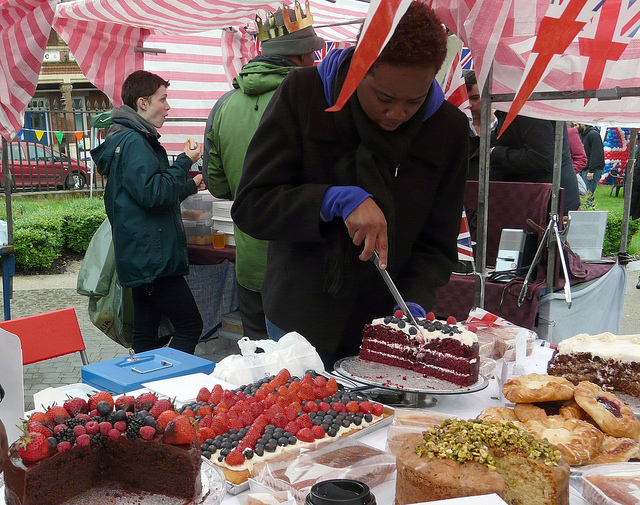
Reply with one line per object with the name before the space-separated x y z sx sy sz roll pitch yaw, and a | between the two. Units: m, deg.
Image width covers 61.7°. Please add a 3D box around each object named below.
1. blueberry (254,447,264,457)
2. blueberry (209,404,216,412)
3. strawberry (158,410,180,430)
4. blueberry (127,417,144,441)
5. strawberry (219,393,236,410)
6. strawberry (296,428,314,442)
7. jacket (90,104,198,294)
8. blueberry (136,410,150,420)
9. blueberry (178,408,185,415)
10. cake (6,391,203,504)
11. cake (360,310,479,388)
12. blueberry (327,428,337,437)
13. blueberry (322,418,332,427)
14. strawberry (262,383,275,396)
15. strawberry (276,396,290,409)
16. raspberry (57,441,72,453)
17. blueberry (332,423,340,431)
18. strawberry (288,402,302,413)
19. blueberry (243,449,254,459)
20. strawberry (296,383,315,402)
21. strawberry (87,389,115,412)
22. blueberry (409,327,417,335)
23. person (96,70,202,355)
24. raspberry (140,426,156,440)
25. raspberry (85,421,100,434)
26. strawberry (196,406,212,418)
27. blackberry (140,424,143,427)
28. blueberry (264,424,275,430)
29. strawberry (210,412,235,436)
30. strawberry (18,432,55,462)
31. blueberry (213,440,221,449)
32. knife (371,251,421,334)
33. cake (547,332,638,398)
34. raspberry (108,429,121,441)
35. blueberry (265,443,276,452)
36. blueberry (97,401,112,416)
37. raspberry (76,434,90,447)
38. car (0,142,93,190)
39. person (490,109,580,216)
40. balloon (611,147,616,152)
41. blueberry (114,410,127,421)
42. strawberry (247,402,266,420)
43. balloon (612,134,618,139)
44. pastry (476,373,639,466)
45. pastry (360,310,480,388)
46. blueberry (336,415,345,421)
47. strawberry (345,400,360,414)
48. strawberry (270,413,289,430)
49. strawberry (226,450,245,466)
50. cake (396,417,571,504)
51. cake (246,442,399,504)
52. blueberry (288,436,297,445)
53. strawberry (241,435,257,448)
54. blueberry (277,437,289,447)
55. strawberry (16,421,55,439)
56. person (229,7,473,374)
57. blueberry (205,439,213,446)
blueberry | -0.228 0.748 2.016 0.035 0.026 0.024 1 8 -5
blueberry | -0.449 0.650 2.251 0.020 0.019 0.017 5 4 37
strawberry | -0.540 0.585 1.943 0.064 0.061 0.053 -39 45 -15
blueberry | -0.645 0.614 1.871 0.042 0.075 0.031 13 -20 19
strawberry | -0.392 0.635 2.301 0.046 0.051 0.048 -3 2 -23
strawberry | -0.053 0.720 2.126 0.052 0.037 0.041 18 40 16
jacket | -1.583 -0.522 4.850 0.833 1.653 0.540 -1 8 -16
blueberry | -0.626 0.574 1.899 0.030 0.032 0.022 27 -33 -27
blueberry | -0.562 0.641 2.165 0.034 0.030 0.027 -6 -10 18
cake | -0.721 0.693 1.842 0.625 0.324 0.356 0 9 -15
cake | 0.559 0.411 2.731 0.501 0.301 0.540 9 14 43
blueberry | 0.050 0.724 2.161 0.025 0.028 0.027 13 22 38
blueberry | 0.030 0.695 2.210 0.025 0.026 0.024 -20 19 -19
strawberry | -0.233 0.619 2.430 0.038 0.041 0.013 23 58 27
strawberry | -0.159 0.639 2.301 0.041 0.048 0.035 -23 10 18
raspberry | -0.852 0.646 1.794 0.027 0.026 0.031 42 16 22
blueberry | 0.066 0.710 2.187 0.019 0.021 0.020 4 5 15
strawberry | -0.100 0.652 2.276 0.033 0.035 0.034 -5 -15 3
blueberry | -0.262 0.747 1.988 0.039 0.024 0.027 -1 9 -20
strawberry | -0.060 0.616 2.364 0.061 0.069 0.067 0 4 4
strawberry | -0.812 0.553 2.008 0.081 0.087 0.083 18 14 -20
blueberry | 0.468 0.389 2.686 0.043 0.032 0.029 1 8 -4
person | -1.581 -0.330 5.104 0.856 2.768 0.953 0 8 -11
raspberry | -0.595 0.623 1.859 0.046 0.041 0.037 19 -24 -2
raspberry | -0.790 0.602 1.858 0.037 0.040 0.037 -6 -5 -24
strawberry | -0.470 0.649 2.184 0.063 0.036 0.102 0 9 -13
blackberry | -0.625 0.606 1.882 0.006 0.012 0.006 4 3 -22
blueberry | -0.199 0.697 2.148 0.022 0.024 0.022 8 -20 -45
strawberry | -0.388 0.683 2.133 0.088 0.066 0.068 -2 9 -24
strawberry | -0.919 0.630 1.761 0.091 0.092 0.081 17 -4 -12
blueberry | -0.393 0.732 2.048 0.023 0.026 0.024 2 7 8
knife | 0.328 0.178 2.656 0.209 0.420 0.245 -7 16 -35
cake | 1.326 0.462 2.655 0.419 0.259 0.460 3 13 21
raspberry | -0.713 0.630 1.862 0.027 0.031 0.037 3 -3 -4
blueberry | -0.188 0.743 2.046 0.026 0.020 0.028 0 -6 0
blueberry | -0.770 0.556 1.921 0.042 0.046 0.044 -2 -15 -15
raspberry | -0.807 0.641 1.831 0.042 0.047 0.030 -2 9 -27
car | -8.436 -2.728 16.502 2.047 1.419 4.732 -1 9 -18
person | 1.994 -0.867 5.093 0.748 1.262 1.080 1 10 16
balloon | 10.857 -3.908 19.861 0.128 0.074 0.154 -2 4 14
blueberry | -0.704 0.576 1.895 0.026 0.035 0.033 6 15 -28
strawberry | -0.267 0.660 2.246 0.055 0.027 0.055 39 50 24
balloon | 10.760 -4.306 19.591 0.173 0.148 0.224 6 9 26
pastry | 0.985 0.626 2.161 0.488 0.271 0.596 -2 10 -13
pastry | 0.545 0.468 2.776 0.561 0.301 0.354 7 3 28
blueberry | 0.087 0.688 2.239 0.018 0.020 0.020 -1 43 45
strawberry | 0.143 0.660 2.312 0.042 0.044 0.043 -9 7 -25
strawberry | -0.160 0.683 2.177 0.046 0.041 0.060 8 -5 -11
strawberry | -0.305 0.742 1.938 0.039 0.044 0.056 15 -20 10
cake | 0.525 0.718 1.740 0.544 0.239 0.317 4 9 13
cake | 0.027 0.745 1.859 0.340 0.072 0.194 -10 16 -37
blueberry | -0.106 0.736 2.102 0.024 0.027 0.026 1 4 -13
strawberry | -0.267 0.722 2.054 0.064 0.040 0.040 -2 9 -22
blueberry | -0.141 0.734 2.087 0.045 0.029 0.028 0 9 -15
strawberry | -0.952 0.591 1.804 0.073 0.091 0.079 14 22 -7
person | 0.164 -0.231 2.826 1.029 1.837 0.882 6 9 28
blueberry | -0.424 0.723 2.050 0.028 0.011 0.029 0 9 -12
